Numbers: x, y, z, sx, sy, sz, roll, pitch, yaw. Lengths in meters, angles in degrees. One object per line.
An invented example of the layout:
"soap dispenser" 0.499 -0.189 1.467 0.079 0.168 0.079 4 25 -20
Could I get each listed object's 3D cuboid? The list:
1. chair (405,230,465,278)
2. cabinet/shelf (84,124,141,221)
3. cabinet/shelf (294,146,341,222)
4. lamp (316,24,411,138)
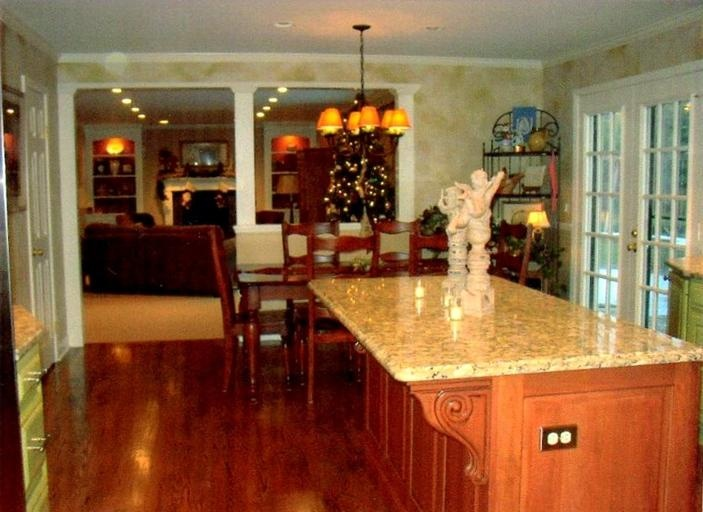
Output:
"chair" 0.653 0.000 4.818 0.395 0.294 0.390 -1 9 -2
"cabinet/shelf" -5.350 -1.939 13.759 1.264 1.934 0.314 0 10 6
"cabinet/shelf" -0.735 -1.379 12.148 1.051 1.452 1.040 -8 11 -44
"lamp" 0.026 -1.523 5.557 0.746 0.907 1.109 -2 10 -11
